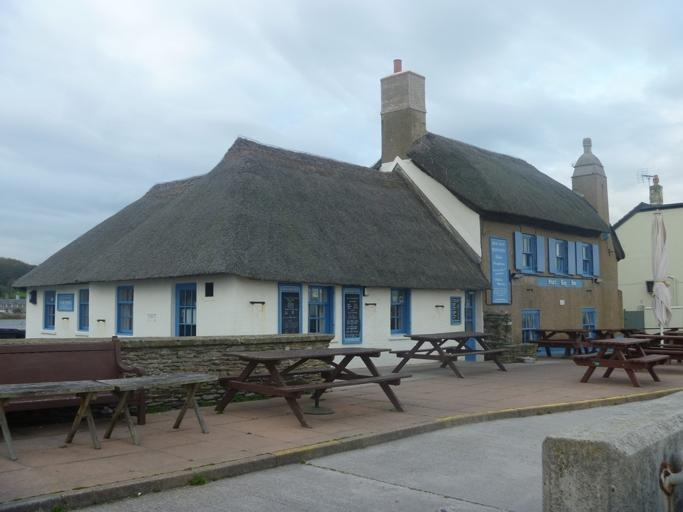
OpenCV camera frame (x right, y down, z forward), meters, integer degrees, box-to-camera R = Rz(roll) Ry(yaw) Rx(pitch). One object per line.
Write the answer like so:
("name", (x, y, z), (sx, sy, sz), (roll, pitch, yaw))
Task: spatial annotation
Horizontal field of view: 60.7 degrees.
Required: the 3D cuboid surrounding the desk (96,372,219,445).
("desk", (-2.705, 2.102, 8.166), (1.591, 0.830, 1.164), (4, -9, -37))
